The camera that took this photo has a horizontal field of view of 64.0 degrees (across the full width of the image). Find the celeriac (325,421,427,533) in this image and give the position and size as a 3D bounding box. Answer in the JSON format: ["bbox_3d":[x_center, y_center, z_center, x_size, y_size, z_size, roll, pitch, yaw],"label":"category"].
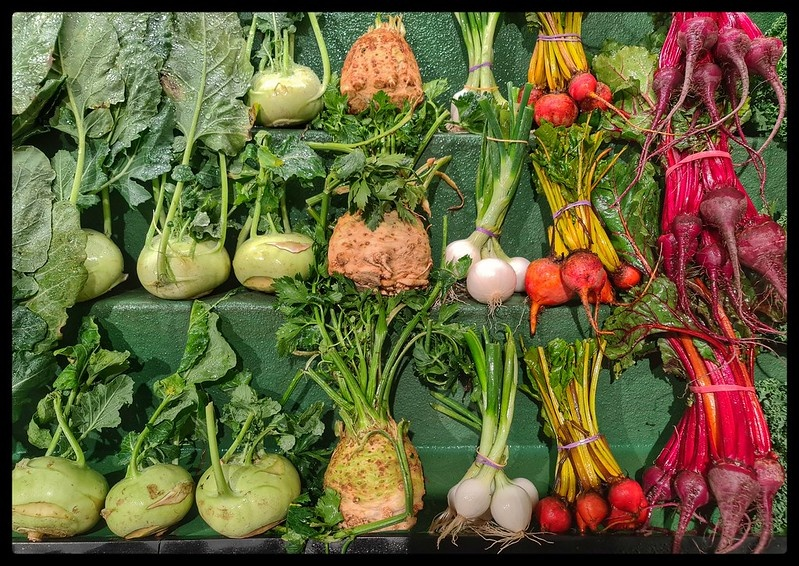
[{"bbox_3d":[-0.073,0.567,2.014,0.318,0.418,0.306,0,33,-6],"label":"celeriac"}]
